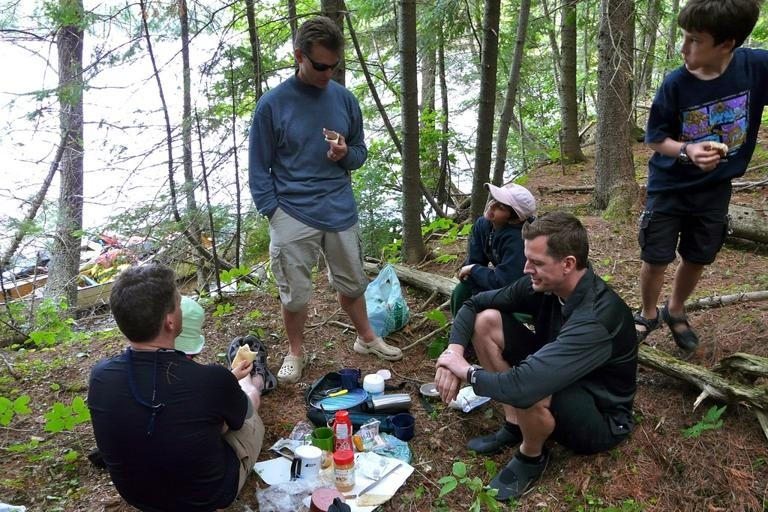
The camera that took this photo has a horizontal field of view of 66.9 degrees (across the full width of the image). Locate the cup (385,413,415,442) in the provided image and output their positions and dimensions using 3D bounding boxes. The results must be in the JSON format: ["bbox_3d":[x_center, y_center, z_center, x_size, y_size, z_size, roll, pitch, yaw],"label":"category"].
[{"bbox_3d":[0.163,1.466,5.063,0.202,0.164,0.248,14,27,32],"label":"cup"}]

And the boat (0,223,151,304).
[{"bbox_3d":[-4.645,0.077,8.548,2.408,0.530,0.647,-23,21,11],"label":"boat"}]

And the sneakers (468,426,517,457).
[{"bbox_3d":[0.860,1.549,4.914,0.543,0.194,0.167,-10,29,6],"label":"sneakers"}]

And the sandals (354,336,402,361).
[{"bbox_3d":[-0.058,0.924,5.949,0.546,0.209,0.187,8,8,3],"label":"sandals"}]

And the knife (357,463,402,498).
[{"bbox_3d":[-0.038,1.799,4.623,0.596,0.028,0.061,-18,53,-39],"label":"knife"}]

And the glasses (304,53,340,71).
[{"bbox_3d":[-0.554,-1.698,5.113,0.179,0.071,0.203,-12,39,-21],"label":"glasses"}]

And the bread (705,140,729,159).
[{"bbox_3d":[2.615,-0.842,4.595,0.128,0.078,0.161,25,13,-24],"label":"bread"}]

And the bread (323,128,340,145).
[{"bbox_3d":[-0.479,-1.094,5.311,0.144,0.160,0.210,-9,13,-7],"label":"bread"}]

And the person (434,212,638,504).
[{"bbox_3d":[1.188,0.767,4.572,1.415,2.142,0.973,-1,16,25],"label":"person"}]

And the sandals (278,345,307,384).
[{"bbox_3d":[-0.880,1.058,5.531,0.178,0.133,0.352,4,12,8],"label":"sandals"}]

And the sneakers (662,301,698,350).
[{"bbox_3d":[2.596,0.661,5.200,0.188,0.480,0.212,-33,-22,17],"label":"sneakers"}]

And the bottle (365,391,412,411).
[{"bbox_3d":[0.044,1.300,5.239,0.379,0.129,0.159,1,21,-8],"label":"bottle"}]

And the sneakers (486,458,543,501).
[{"bbox_3d":[1.046,1.751,4.584,0.479,0.180,0.234,-28,38,-6],"label":"sneakers"}]

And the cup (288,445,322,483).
[{"bbox_3d":[-0.608,1.651,4.652,0.193,0.188,0.289,5,9,23],"label":"cup"}]

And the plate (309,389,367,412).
[{"bbox_3d":[-0.394,1.318,5.247,0.525,0.070,0.231,-10,13,-20],"label":"plate"}]

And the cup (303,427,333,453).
[{"bbox_3d":[-0.531,1.516,4.782,0.166,0.143,0.207,3,12,12],"label":"cup"}]
